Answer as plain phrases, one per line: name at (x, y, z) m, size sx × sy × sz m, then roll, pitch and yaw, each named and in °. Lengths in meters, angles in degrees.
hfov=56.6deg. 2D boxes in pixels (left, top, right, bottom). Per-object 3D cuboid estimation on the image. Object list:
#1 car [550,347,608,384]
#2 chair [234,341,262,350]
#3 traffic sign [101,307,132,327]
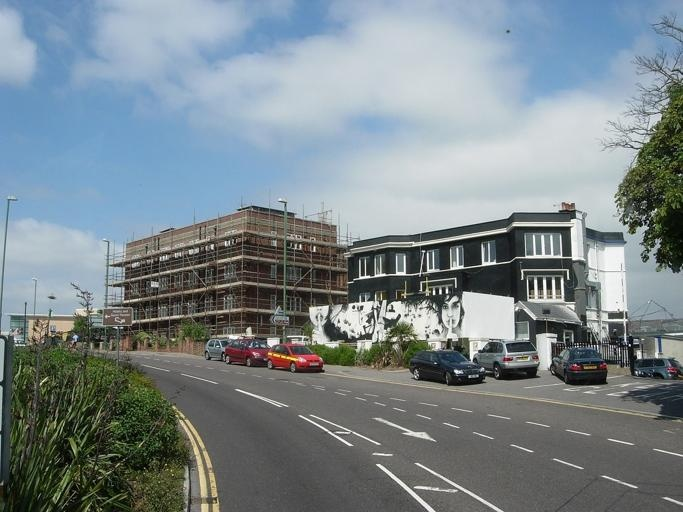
car at (11.103, 5.181, 30.202) m, size 1.221 × 0.942 × 2.592 m, roll -1°, pitch -4°, yaw -1°
chair at (-6.096, 5.734, 40.918) m, size 1.216 × 0.480 × 0.747 m, roll -3°, pitch -4°, yaw 44°
traffic sign at (-7.659, 2.080, 21.589) m, size 0.909 × 0.702 × 1.448 m, roll 3°, pitch -12°, yaw -21°
